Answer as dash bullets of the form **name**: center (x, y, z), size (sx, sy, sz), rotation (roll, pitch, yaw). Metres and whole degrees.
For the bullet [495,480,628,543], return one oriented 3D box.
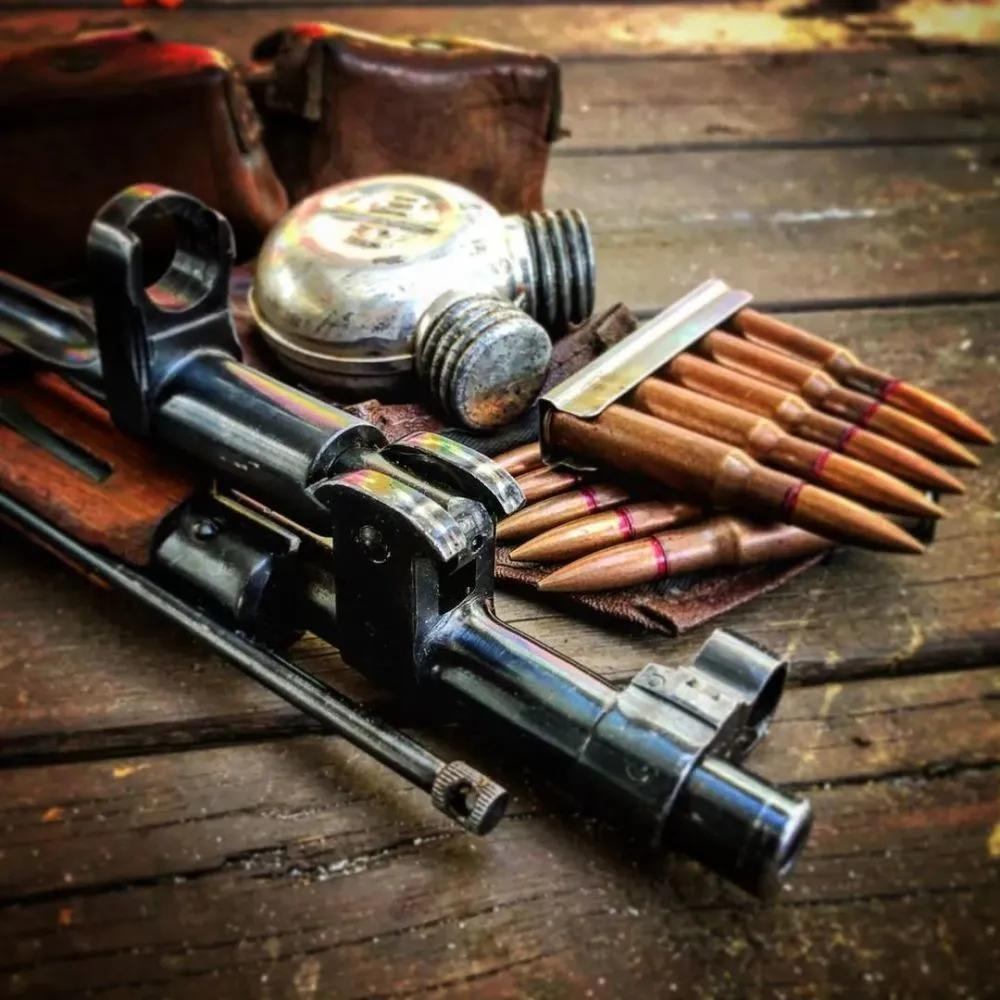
- **bullet**: center (0.057, 0.009, 1.037), size (0.173, 0.033, 0.040), rotation (-13, 24, -28)

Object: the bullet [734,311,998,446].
- **bullet**: center (0.372, -0.120, 1.167), size (0.357, 0.043, 0.046), rotation (22, 43, 14)

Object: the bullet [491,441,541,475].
- **bullet**: center (0.023, -0.042, 1.105), size (0.072, 0.019, 0.015), rotation (-17, 77, -30)

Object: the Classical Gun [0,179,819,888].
- **Classical Gun**: center (-0.155, -0.066, 0.979), size (1.026, 0.333, 0.287), rotation (23, 30, 24)

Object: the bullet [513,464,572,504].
- **bullet**: center (0.043, -0.016, 1.068), size (0.075, 0.016, 0.022), rotation (-13, 17, -35)
